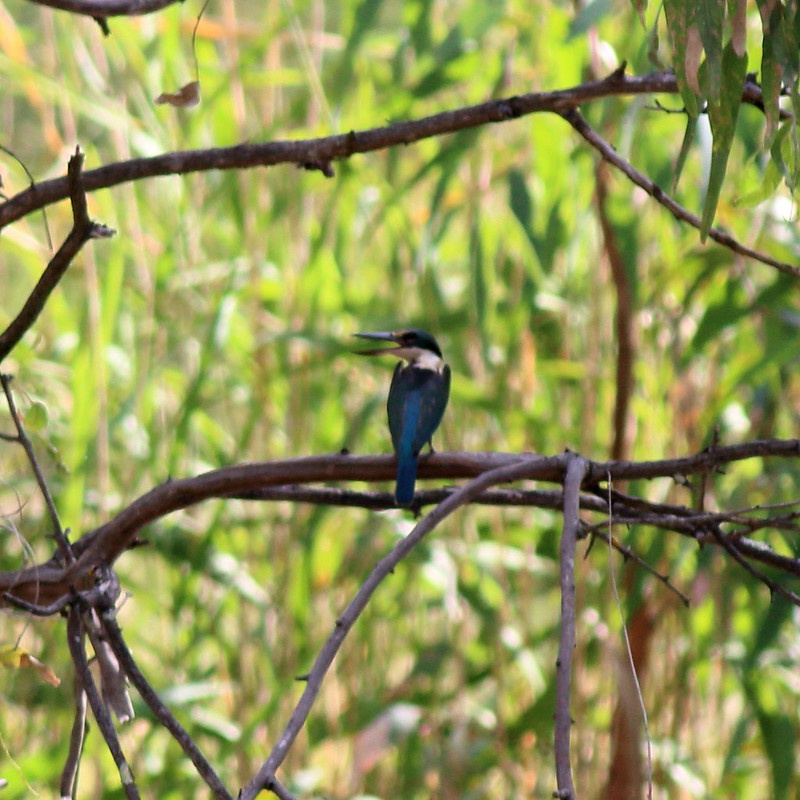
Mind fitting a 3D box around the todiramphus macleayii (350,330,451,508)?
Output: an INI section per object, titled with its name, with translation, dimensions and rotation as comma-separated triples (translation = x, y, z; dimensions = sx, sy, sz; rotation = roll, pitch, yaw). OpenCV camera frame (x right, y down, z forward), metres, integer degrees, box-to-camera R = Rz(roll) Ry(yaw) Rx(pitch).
[todiramphus macleayii]
translation = 0.036, -0.006, 3.394
dimensions = 0.138, 0.534, 0.266
rotation = 0, -55, 1
